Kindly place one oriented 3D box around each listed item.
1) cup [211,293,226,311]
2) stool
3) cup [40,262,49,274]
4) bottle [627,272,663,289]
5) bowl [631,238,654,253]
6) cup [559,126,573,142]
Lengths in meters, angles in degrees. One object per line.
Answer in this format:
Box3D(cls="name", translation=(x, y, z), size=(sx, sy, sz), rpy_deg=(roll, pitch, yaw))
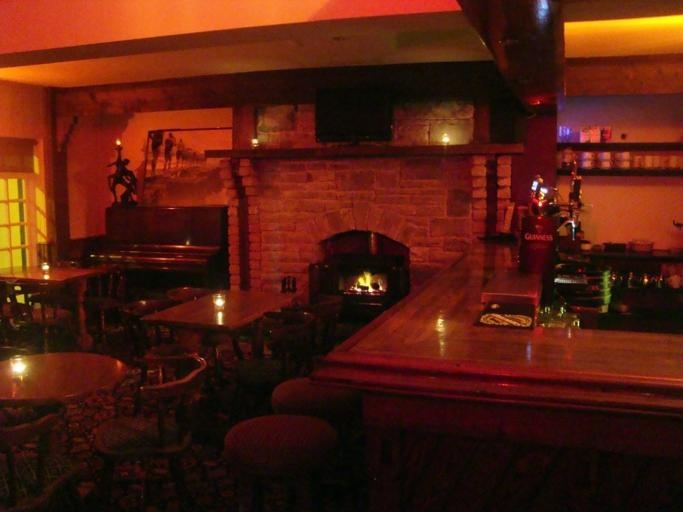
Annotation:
Box3D(cls="cup", translation=(-1.008, 0.374, 4.911), size=(0.122, 0.120, 0.121), rpy_deg=(1, 9, 0))
Box3D(cls="stool", translation=(-0.113, 1.024, 3.144), size=(0.486, 0.722, 0.450), rpy_deg=(0, 5, 2))
Box3D(cls="cup", translation=(-3.081, 0.122, 6.155), size=(0.086, 0.082, 0.096), rpy_deg=(0, 13, -42))
Box3D(cls="bottle", translation=(3.117, 0.246, 6.078), size=(0.214, 0.074, 0.213), rpy_deg=(-1, 7, 0))
Box3D(cls="bowl", translation=(3.094, -0.104, 6.121), size=(0.199, 0.118, 0.157), rpy_deg=(2, 5, 20))
Box3D(cls="cup", translation=(2.353, -1.274, 6.213), size=(0.129, 0.193, 0.385), rpy_deg=(3, 5, 28))
